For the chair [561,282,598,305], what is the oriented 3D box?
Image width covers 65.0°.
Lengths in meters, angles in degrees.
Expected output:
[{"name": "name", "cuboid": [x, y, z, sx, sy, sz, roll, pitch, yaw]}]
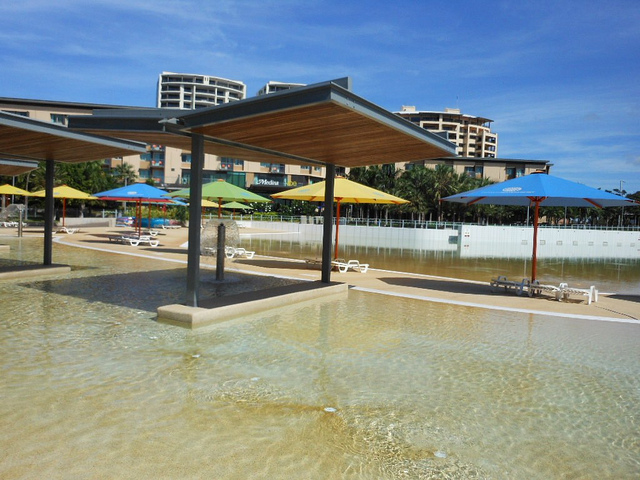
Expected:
[{"name": "chair", "cuboid": [6.314, 1.273, 12.412, 0.798, 0.365, 0.759, -1, -1, 34]}]

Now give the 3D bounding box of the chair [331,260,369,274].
[{"name": "chair", "cuboid": [1.029, 0.866, 16.628, 1.059, 0.231, 0.526, -1, 2, -12]}]

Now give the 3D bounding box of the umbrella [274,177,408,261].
[{"name": "umbrella", "cuboid": [0.621, -0.753, 17.008, 5.067, 2.497, 4.211, 2, 2, -14]}]

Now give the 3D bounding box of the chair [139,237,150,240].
[{"name": "chair", "cuboid": [-8.101, -0.087, 23.302, 0.180, 0.122, 0.432, 11, 12, 38]}]

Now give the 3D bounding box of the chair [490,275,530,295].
[{"name": "chair", "cuboid": [4.980, 1.215, 13.498, 0.860, 0.338, 0.638, -2, -4, 43]}]

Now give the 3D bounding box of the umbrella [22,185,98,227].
[{"name": "umbrella", "cuboid": [-15.004, -2.070, 29.538, 3.928, 1.987, 3.310, 1, 1, -2]}]

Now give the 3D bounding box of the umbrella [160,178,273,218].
[{"name": "umbrella", "cuboid": [-3.217, -1.424, 16.201, 2.997, 0.868, 2.606, 3, 7, 4]}]

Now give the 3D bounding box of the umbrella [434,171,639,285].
[{"name": "umbrella", "cuboid": [5.785, -0.233, 13.810, 3.939, 3.277, 4.644, 8, 11, 23]}]
